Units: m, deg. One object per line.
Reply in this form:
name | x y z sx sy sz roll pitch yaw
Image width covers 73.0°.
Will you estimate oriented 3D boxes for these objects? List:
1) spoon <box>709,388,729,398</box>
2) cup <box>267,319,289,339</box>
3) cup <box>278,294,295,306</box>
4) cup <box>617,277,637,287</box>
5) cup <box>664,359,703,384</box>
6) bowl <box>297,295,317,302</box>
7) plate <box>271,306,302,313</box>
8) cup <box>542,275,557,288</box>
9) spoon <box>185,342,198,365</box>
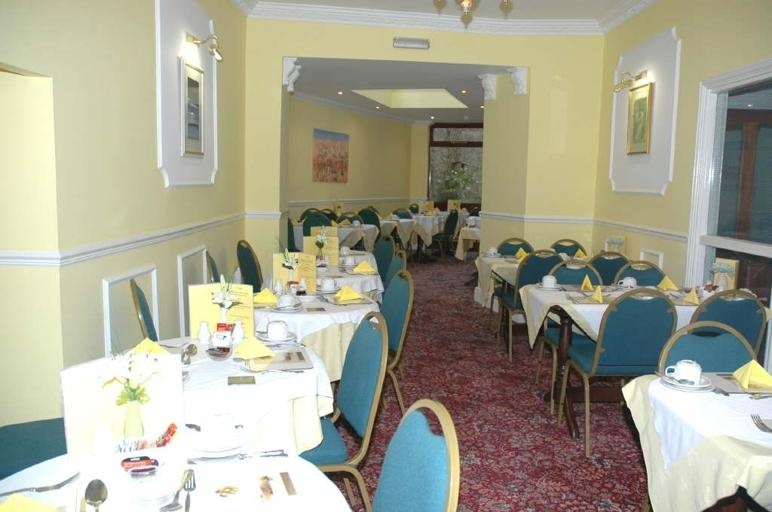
spoon | 1.918 0.776 2.975 0.085 0.019 0.059 9 14 33
cup | -0.720 0.487 3.427 0.107 0.097 0.110 0 -8 0
cup | -0.776 0.350 4.048 0.093 0.065 0.094 -2 -22 -1
cup | 2.357 0.252 5.100 0.098 0.099 0.147 -2 -2 -25
cup | 1.764 0.681 3.100 0.144 0.140 0.187 -3 2 -45
bowl | -0.641 0.361 4.279 0.144 0.028 0.146 2 11 0
plate | -0.762 0.413 4.021 0.223 0.029 0.115 -2 12 -17
cup | 1.569 0.242 5.014 0.095 0.102 0.128 -3 -8 17
spoon | -1.186 0.577 3.140 0.079 0.074 0.230 -2 12 -15
